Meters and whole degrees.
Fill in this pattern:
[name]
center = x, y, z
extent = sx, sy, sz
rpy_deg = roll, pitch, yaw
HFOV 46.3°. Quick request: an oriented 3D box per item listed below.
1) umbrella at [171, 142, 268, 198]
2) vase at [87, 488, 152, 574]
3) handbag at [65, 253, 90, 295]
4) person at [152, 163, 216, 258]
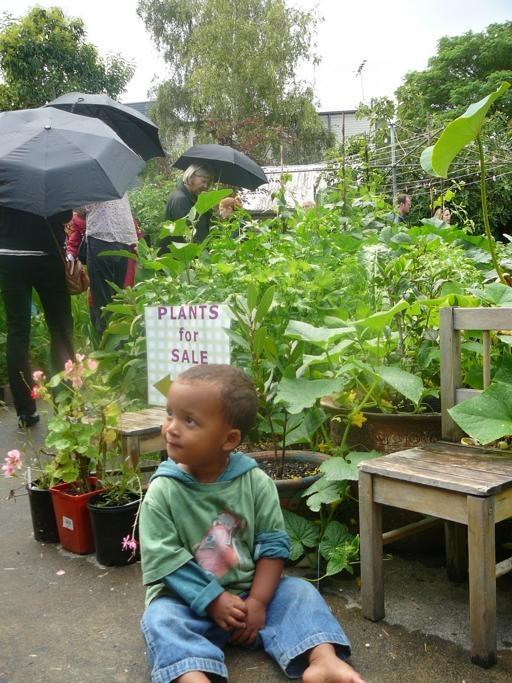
[umbrella]
center = -0.364, -1.421, 5.060
extent = 0.733, 0.264, 0.753
rpy_deg = 5, -12, 44
[vase]
center = -0.408, 0.577, 1.898
extent = 0.223, 0.197, 0.216
rpy_deg = 7, 8, 44
[handbag]
center = -1.021, -0.368, 3.401
extent = 0.113, 0.197, 0.216
rpy_deg = -2, 2, -13
[person]
center = -0.453, -0.836, 3.853
extent = 0.360, 0.625, 0.777
rpy_deg = -2, 2, -9
